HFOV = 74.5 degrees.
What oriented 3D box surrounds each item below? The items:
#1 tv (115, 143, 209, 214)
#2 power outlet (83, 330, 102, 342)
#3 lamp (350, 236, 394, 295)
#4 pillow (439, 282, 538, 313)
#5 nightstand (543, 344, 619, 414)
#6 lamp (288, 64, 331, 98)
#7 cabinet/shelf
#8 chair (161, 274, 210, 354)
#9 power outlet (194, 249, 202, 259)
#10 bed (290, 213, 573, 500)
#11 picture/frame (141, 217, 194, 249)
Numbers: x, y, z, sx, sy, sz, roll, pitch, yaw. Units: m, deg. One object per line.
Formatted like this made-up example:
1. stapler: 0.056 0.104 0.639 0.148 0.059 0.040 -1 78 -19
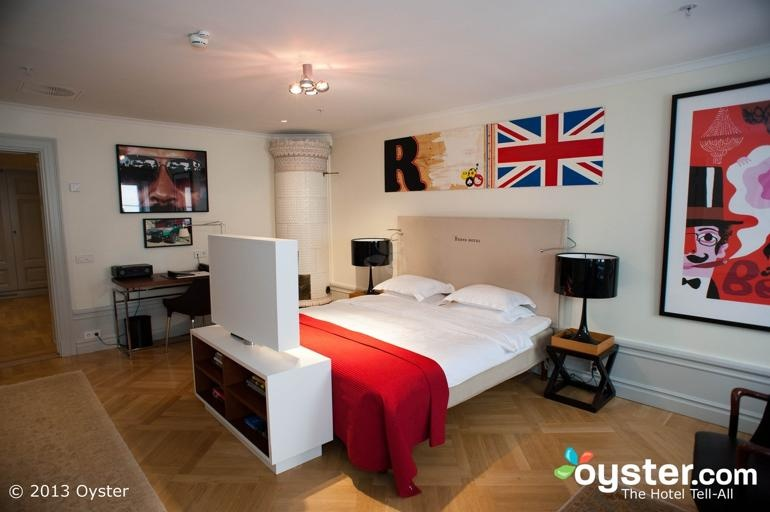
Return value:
1. tv: -2.962 -1.021 6.611 0.997 0.736 0.033 -7 10 -41
2. power outlet: -3.630 0.979 6.293 0.182 0.121 0.025 -6 9 -37
3. lamp: -0.178 0.154 6.761 0.684 0.696 0.662 0 1 -17
4. pillow: 1.125 0.445 5.542 0.398 0.135 0.534 -9 14 -40
5. nightstand: 2.044 1.189 5.245 0.574 0.552 0.603 7 9 38
6. lamp: -0.727 -1.662 4.826 0.327 0.262 0.375 -2 7 -9
7. cabinet/shelf: -1.280 1.282 4.990 0.658 0.899 1.885 -8 11 -39
8. chair: -2.451 0.683 6.392 0.633 0.749 0.610 -1 4 -18
9. power outlet: -2.584 -0.032 6.991 0.126 0.118 0.063 0 10 -28
10. bed: 0.373 0.767 5.239 2.638 1.577 2.641 10 17 44
11. picture/frame: -2.914 -0.312 6.708 0.428 0.287 0.028 -8 13 -39
